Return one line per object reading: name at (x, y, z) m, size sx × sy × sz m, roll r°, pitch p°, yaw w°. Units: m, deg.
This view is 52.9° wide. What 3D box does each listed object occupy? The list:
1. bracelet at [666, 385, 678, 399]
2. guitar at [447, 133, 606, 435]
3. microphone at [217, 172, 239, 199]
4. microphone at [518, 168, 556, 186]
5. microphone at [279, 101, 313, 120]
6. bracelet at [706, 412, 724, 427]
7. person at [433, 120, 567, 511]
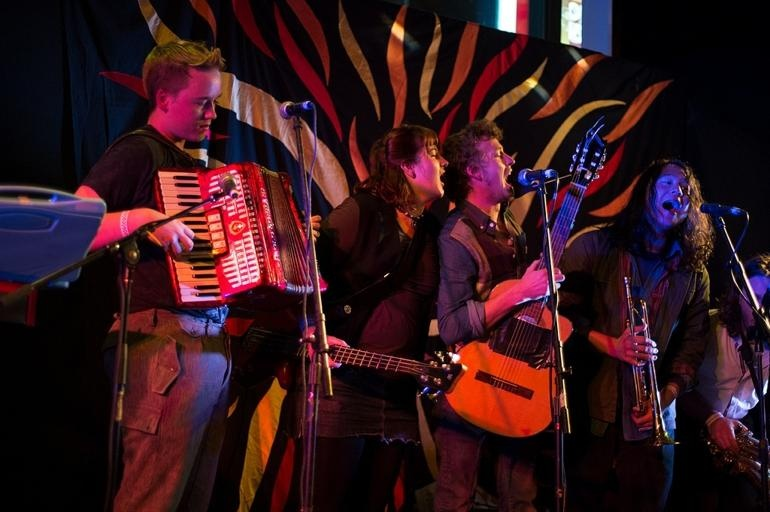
bracelet at (2.226, 1.067, 6.025) m, size 0.086 × 0.093 × 0.064 m, roll -11°, pitch -28°, yaw 43°
guitar at (1.017, 0.141, 5.566) m, size 0.981 × 2.294 × 0.522 m, roll 8°, pitch 1°, yaw -7°
microphone at (-0.928, -0.414, 4.628) m, size 0.086 × 0.138 × 0.136 m, roll 25°, pitch 44°, yaw 26°
microphone at (1.074, -0.572, 5.530) m, size 0.231 × 0.105 × 0.229 m, roll 14°, pitch -12°, yaw -39°
microphone at (-0.576, -0.961, 5.060) m, size 0.192 × 0.128 × 0.128 m, roll 1°, pitch 8°, yaw 22°
bracelet at (2.630, 1.310, 6.206) m, size 0.118 × 0.046 × 0.091 m, roll -34°, pitch -16°, yaw -3°
person at (0.695, 0.365, 5.829) m, size 0.958 × 3.103 × 0.914 m, roll -2°, pitch 8°, yaw -20°
